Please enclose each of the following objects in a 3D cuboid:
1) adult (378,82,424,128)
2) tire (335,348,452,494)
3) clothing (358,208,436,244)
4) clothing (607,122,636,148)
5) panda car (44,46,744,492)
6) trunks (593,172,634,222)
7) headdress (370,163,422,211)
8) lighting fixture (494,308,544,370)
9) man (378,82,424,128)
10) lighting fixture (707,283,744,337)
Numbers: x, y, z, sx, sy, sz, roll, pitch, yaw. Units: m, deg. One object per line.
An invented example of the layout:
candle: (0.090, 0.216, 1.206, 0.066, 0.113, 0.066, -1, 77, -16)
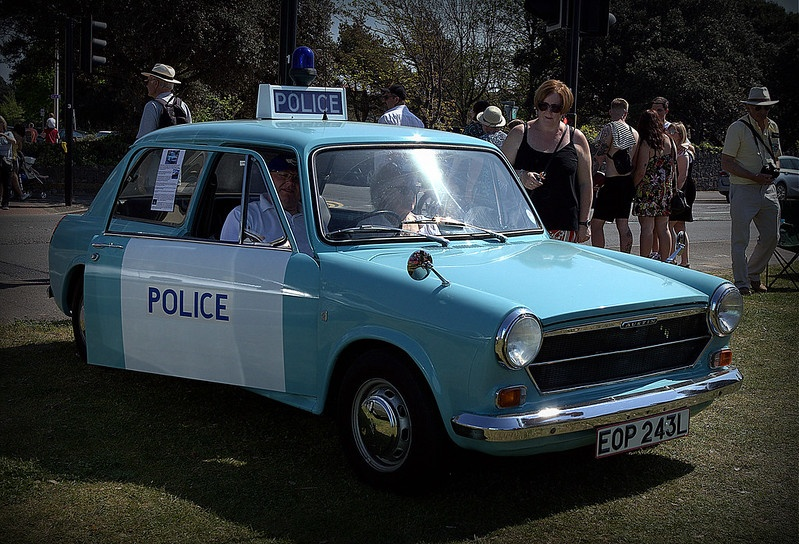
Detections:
adult: (-0.049, -2.752, 10.112, 0.592, 0.710, 1.086, 5, 8, -4)
tire: (-0.059, 0.902, 3.641, 0.776, 0.850, 0.141, 9, 14, 36)
clothing: (0.019, -0.352, 4.363, 0.427, 0.105, 0.254, 7, 21, 3)
clothing: (3.118, -1.919, 8.394, 0.263, 0.118, 0.454, -10, 55, -12)
panda car: (-0.489, 0.099, 4.606, 2.654, 1.946, 4.621, -8, 11, -44)
trunks: (3.253, -1.227, 8.996, 0.563, 0.957, 0.876, -3, -4, 18)
headdress: (-0.082, -0.597, 4.588, 0.379, 0.394, 0.289, 16, -4, -31)
lighting fixture: (0.678, 0.373, 3.341, 0.282, 0.322, 0.306, -8, 15, -21)
man: (-0.019, -2.758, 10.089, 0.549, 0.709, 1.073, 6, 11, 4)
lighting fixture: (2.232, 0.255, 4.070, 0.355, 0.362, 0.128, -9, 15, -41)
